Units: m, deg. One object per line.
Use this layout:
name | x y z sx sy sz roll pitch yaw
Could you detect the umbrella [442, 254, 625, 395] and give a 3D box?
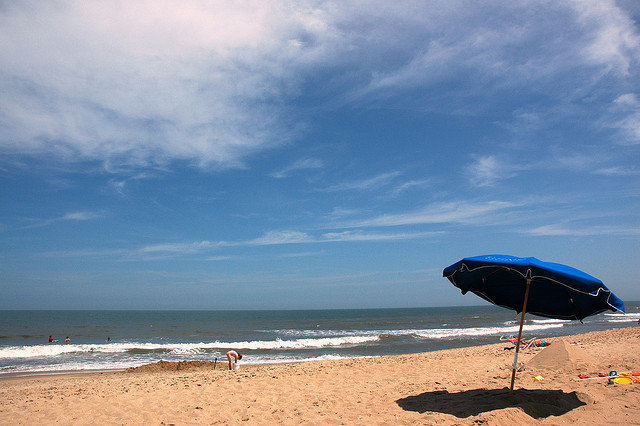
umbrella | 5.757 2.900 12.431 5.827 2.996 4.866 16 -16 -23
